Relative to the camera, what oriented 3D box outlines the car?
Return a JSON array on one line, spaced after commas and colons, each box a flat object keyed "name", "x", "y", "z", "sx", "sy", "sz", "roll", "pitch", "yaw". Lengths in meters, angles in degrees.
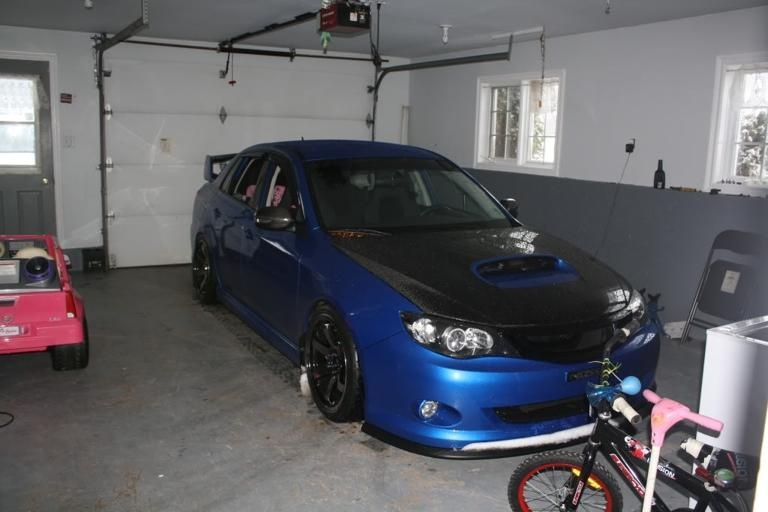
[{"name": "car", "x": -0.218, "y": -0.102, "z": 4.504, "sx": 1.933, "sy": 1.456, "sz": 4.149, "roll": -4, "pitch": 12, "yaw": -32}]
